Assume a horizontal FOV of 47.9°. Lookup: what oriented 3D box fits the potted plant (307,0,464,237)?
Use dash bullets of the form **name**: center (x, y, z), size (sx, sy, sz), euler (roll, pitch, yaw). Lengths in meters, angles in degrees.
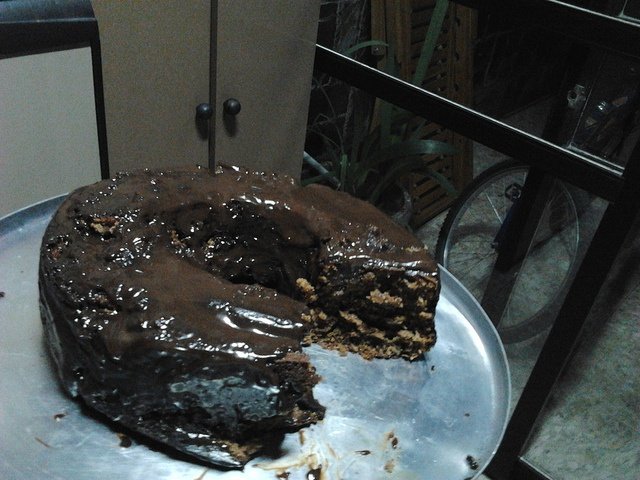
- **potted plant**: center (0.208, -0.371, 2.094), size (0.344, 0.656, 0.349), euler (-34, 58, -31)
